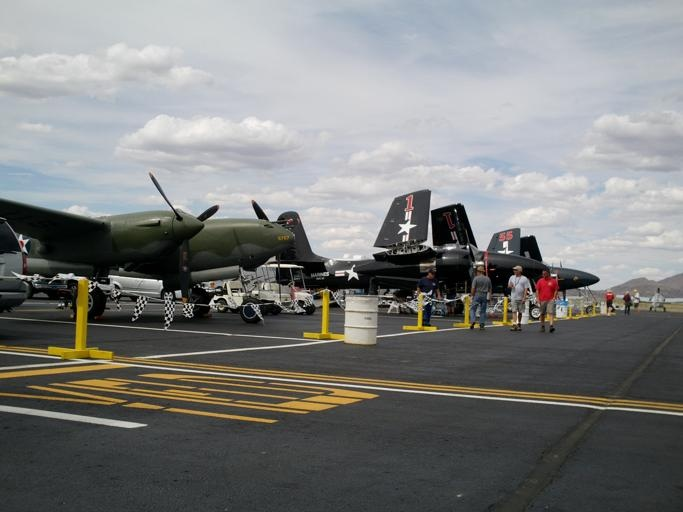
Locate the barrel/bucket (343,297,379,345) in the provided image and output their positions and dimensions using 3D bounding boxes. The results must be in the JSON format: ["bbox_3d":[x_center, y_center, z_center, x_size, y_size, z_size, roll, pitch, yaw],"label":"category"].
[{"bbox_3d":[0.444,1.513,12.648,0.750,1.158,0.379,0,-2,5],"label":"barrel/bucket"}]

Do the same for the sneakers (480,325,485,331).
[{"bbox_3d":[4.898,2.517,18.603,0.107,0.089,0.296,-2,-23,14],"label":"sneakers"}]

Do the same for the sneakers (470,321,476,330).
[{"bbox_3d":[4.594,2.445,18.761,0.222,0.261,0.229,-1,18,9],"label":"sneakers"}]
